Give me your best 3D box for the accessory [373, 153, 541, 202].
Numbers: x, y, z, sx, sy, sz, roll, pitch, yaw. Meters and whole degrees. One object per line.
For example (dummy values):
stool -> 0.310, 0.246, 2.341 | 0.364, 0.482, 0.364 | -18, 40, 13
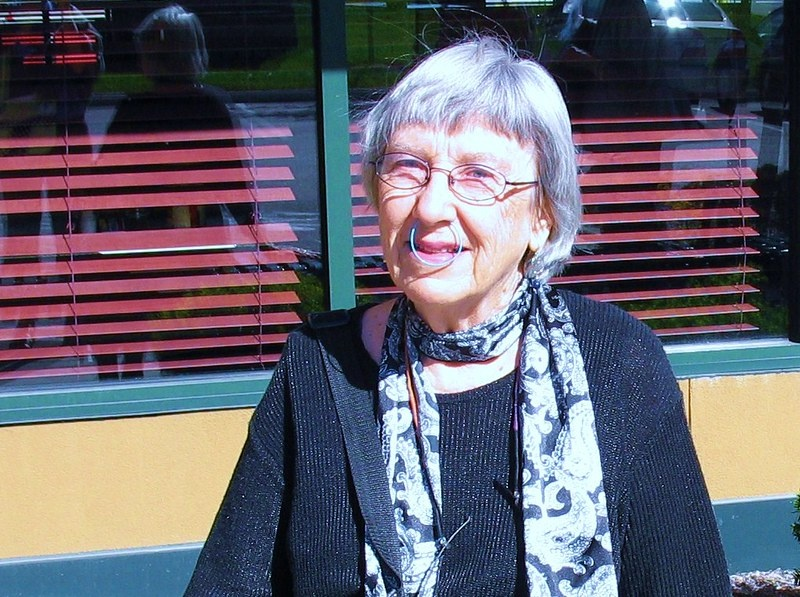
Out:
accessory -> 0.141, -0.373, 3.443 | 0.575, 0.130, 0.530 | 4, 5, -22
